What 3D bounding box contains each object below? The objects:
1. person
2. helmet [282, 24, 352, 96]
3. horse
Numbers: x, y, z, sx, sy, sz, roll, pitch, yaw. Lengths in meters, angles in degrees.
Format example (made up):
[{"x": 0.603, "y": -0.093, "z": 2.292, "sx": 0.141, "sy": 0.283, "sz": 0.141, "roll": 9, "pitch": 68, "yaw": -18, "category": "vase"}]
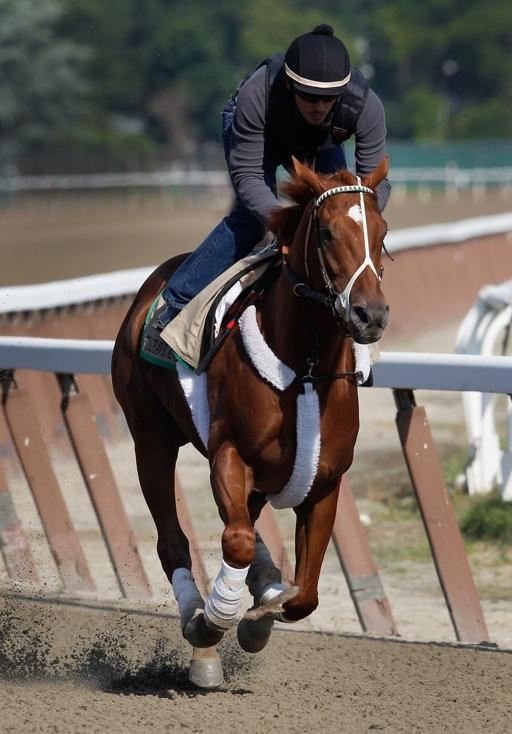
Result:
[{"x": 0.032, "y": -0.487, "z": 2.994, "sx": 0.756, "sy": 0.943, "sz": 0.529, "roll": -3, "pitch": 23, "yaw": -14, "category": "person"}, {"x": 0.160, "y": -0.779, "z": 2.789, "sx": 0.186, "sy": 0.138, "sz": 0.200, "roll": 1, "pitch": 51, "yaw": -12, "category": "helmet"}, {"x": 0.006, "y": 0.191, "z": 2.890, "sx": 0.538, "sy": 1.442, "sz": 1.233, "roll": -10, "pitch": 10, "yaw": -27, "category": "horse"}]
